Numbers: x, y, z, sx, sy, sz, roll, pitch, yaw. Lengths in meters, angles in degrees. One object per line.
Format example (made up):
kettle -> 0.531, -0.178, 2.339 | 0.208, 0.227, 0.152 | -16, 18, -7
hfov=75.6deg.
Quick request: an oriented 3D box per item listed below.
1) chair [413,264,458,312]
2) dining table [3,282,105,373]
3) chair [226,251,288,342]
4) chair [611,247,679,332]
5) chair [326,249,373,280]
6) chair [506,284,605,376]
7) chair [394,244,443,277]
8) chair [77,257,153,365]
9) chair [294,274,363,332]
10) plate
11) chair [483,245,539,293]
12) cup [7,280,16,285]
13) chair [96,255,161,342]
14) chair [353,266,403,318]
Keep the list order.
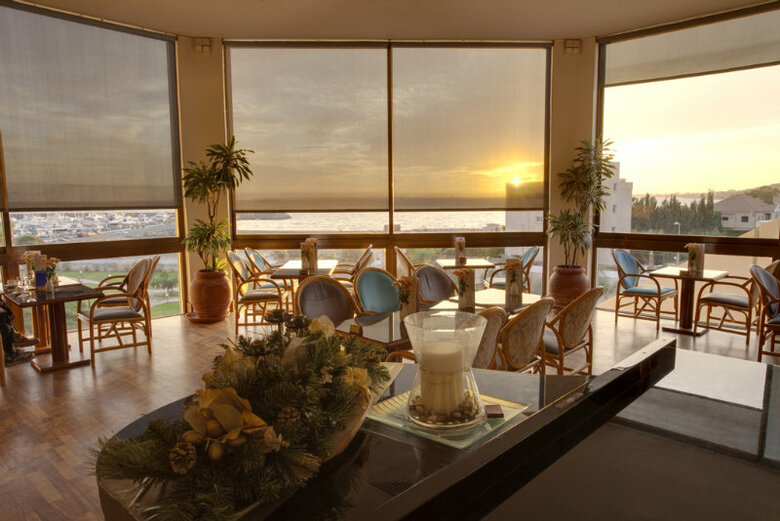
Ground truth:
chair -> 0.457, 0.282, 5.370 | 0.427, 0.522, 0.418 | -7, 7, -32
dining table -> -3.463, 0.663, 5.408 | 0.968, 0.886, 0.977 | 9, 9, 43
chair -> -1.736, 0.409, 6.681 | 0.836, 1.022, 0.725 | -2, 8, -13
chair -> 3.387, 0.331, 6.666 | 0.692, 0.926, 0.735 | -4, 7, -30
chair -> -0.562, 0.078, 7.140 | 0.562, 0.718, 0.452 | 1, 8, 0
chair -> 1.341, 0.669, 4.253 | 0.655, 0.893, 0.715 | -8, 11, -28
chair -> 0.377, 0.028, 6.927 | 0.548, 0.673, 0.481 | -3, 10, -7
chair -> -3.140, 0.523, 5.628 | 0.867, 0.952, 0.815 | -2, 8, -15
chair -> -0.556, 0.439, 4.239 | 0.462, 0.469, 0.442 | 12, 19, 37
plate -> 0.226, 0.616, 2.009 | 0.570, 0.102, 0.334 | 0, 5, 24
chair -> 1.834, 0.207, 7.604 | 0.719, 0.859, 0.537 | 0, 14, 6
cup -> -4.168, 0.248, 5.523 | 0.080, 0.053, 0.077 | 1, -2, 0
chair -> -3.112, 0.508, 5.659 | 0.789, 0.994, 0.676 | -3, 7, -35
chair -> -0.141, 0.291, 4.855 | 0.455, 0.531, 0.425 | -6, 8, -30
